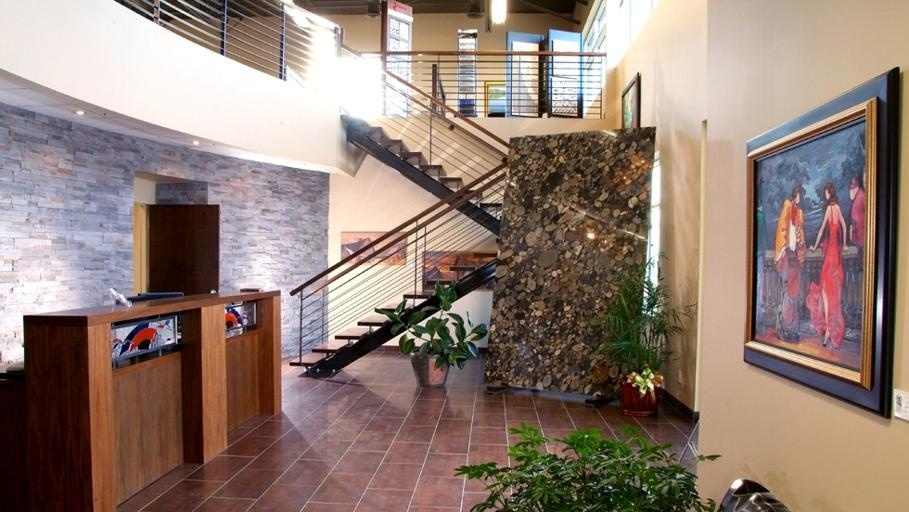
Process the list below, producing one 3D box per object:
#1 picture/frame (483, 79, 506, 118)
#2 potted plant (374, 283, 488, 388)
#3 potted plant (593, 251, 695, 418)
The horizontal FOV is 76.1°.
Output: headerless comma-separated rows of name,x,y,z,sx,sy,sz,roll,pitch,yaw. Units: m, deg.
picture/frame,0.898,-3.186,12.068,0.461,0.764,0.468,0,-12,2
potted plant,-0.266,1.248,8.783,2.010,1.401,1.337,7,-6,-20
potted plant,2.394,1.014,7.473,1.034,1.836,0.909,0,7,10
